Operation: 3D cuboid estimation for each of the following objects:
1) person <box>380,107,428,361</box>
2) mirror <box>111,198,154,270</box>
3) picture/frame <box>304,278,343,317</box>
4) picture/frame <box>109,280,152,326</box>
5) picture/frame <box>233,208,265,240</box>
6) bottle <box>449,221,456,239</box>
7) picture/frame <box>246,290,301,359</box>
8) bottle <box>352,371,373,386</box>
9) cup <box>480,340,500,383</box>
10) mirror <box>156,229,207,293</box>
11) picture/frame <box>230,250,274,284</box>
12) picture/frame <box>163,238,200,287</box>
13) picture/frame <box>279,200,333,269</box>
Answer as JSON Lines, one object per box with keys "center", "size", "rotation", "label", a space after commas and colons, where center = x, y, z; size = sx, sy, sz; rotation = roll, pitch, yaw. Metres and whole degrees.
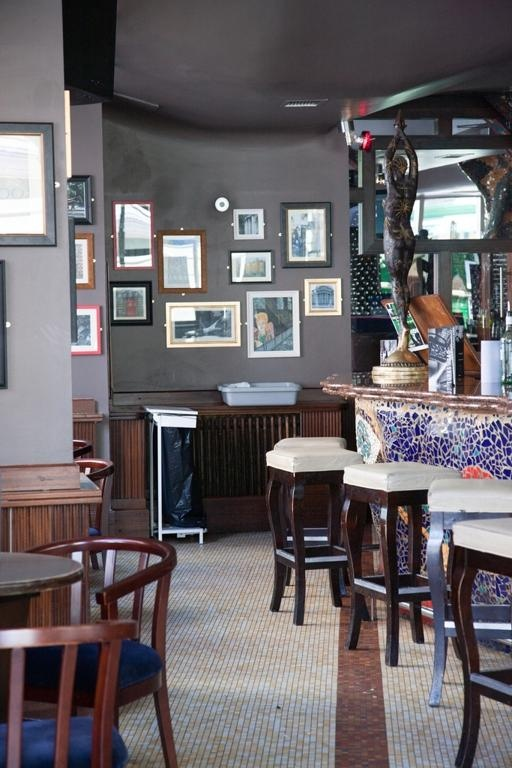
{"center": [0.782, -0.765, 3.759], "size": [0.173, 1.327, 0.376], "rotation": [-1, -1, 12], "label": "person"}
{"center": [-1.002, -1.199, 5.728], "size": [0.327, 0.581, 0.019], "rotation": [-2, -11, -9], "label": "mirror"}
{"center": [0.565, -0.744, 5.959], "size": [0.310, 0.326, 0.045], "rotation": [0, 0, -7], "label": "picture/frame"}
{"center": [-1.046, -0.677, 5.772], "size": [0.374, 0.393, 0.029], "rotation": [-1, 4, -5], "label": "picture/frame"}
{"center": [-0.067, -1.347, 5.881], "size": [0.255, 0.259, 0.029], "rotation": [0, 4, -6], "label": "picture/frame"}
{"center": [1.662, -1.291, 5.873], "size": [0.056, 0.149, 0.019], "rotation": [0, -1, -5], "label": "bottle"}
{"center": [0.137, -0.523, 5.938], "size": [0.537, 0.706, 0.054], "rotation": [-1, 3, -3], "label": "picture/frame"}
{"center": [0.730, -0.034, 4.783], "size": [0.106, 0.069, 0.108], "rotation": [-1, 7, 0], "label": "bottle"}
{"center": [1.106, -0.098, 3.274], "size": [0.094, 0.194, 0.087], "rotation": [0, -1, 0], "label": "cup"}
{"center": [-0.615, -1.016, 5.829], "size": [0.399, 0.525, 0.023], "rotation": [-3, 26, -11], "label": "mirror"}
{"center": [-0.049, -0.989, 5.900], "size": [0.277, 0.242, 0.033], "rotation": [0, 3, -5], "label": "picture/frame"}
{"center": [-0.613, -1.014, 5.828], "size": [0.392, 0.546, 0.027], "rotation": [-3, 32, -11], "label": "picture/frame"}
{"center": [0.414, -1.280, 5.923], "size": [0.539, 0.705, 0.057], "rotation": [-1, 2, -4], "label": "picture/frame"}
